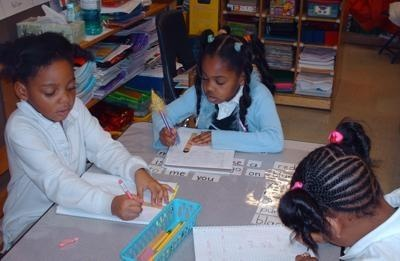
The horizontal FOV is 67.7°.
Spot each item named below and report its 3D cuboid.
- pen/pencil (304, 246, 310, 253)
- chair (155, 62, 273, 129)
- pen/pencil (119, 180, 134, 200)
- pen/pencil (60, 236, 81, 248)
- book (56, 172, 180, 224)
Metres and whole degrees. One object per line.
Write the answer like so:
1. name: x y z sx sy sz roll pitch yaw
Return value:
1. pen/pencil: 0.426 0.475 1.183 0.009 0.028 0.021 17 -17 -22
2. chair: 0.161 -0.169 2.002 0.499 0.511 0.632 -14 4 -42
3. pen/pencil: -0.344 0.281 1.398 0.021 0.091 0.017 -25 24 11
4. pen/pencil: -0.528 0.453 1.219 0.062 0.017 0.028 -18 46 -26
5. book: -0.374 0.313 1.426 0.352 0.040 0.261 10 32 10
